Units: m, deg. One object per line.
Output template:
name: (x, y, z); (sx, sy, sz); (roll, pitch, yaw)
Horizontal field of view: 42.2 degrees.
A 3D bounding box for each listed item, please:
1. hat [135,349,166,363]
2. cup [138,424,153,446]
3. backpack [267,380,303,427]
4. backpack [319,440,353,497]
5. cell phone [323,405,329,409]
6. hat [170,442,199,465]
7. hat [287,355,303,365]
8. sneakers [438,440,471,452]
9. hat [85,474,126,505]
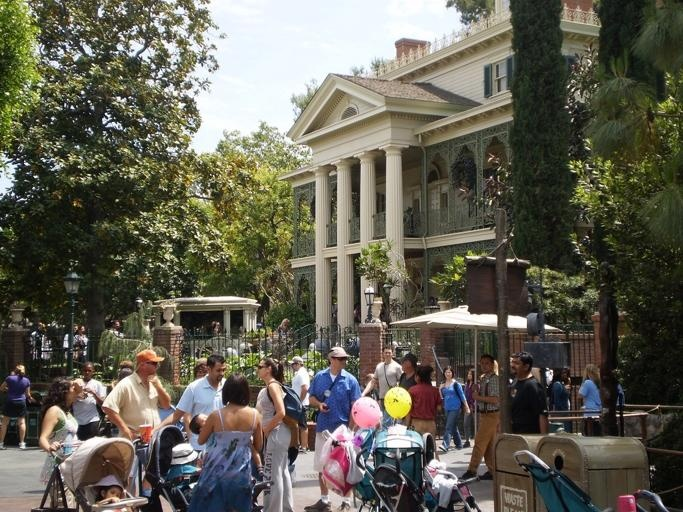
hat: (-2.827, 1.460, 12.948); (0.477, 0.292, 0.332); (3, 1, -13)
cup: (-2.681, 2.417, 12.001); (0.201, 0.234, 0.219); (-1, -8, 0)
backpack: (-0.889, 2.200, 13.056); (0.564, 0.628, 0.427); (-20, 9, -2)
backpack: (-0.071, 3.018, 12.671); (0.692, 0.877, 0.381); (-19, -27, 40)
cell phone: (-0.251, 2.428, 14.243); (0.031, 0.086, 0.116); (-6, -10, 33)
hat: (-2.039, 2.530, 11.399); (0.241, 0.084, 0.260); (-3, 7, 19)
hat: (-0.896, 2.032, 17.322); (0.237, 0.148, 0.186); (8, -4, 17)
sneakers: (2.551, 4.272, 19.923); (0.507, 0.264, 0.168); (-13, 3, -12)
hat: (-2.933, 2.903, 11.018); (0.318, 0.358, 0.370); (9, -25, -22)
